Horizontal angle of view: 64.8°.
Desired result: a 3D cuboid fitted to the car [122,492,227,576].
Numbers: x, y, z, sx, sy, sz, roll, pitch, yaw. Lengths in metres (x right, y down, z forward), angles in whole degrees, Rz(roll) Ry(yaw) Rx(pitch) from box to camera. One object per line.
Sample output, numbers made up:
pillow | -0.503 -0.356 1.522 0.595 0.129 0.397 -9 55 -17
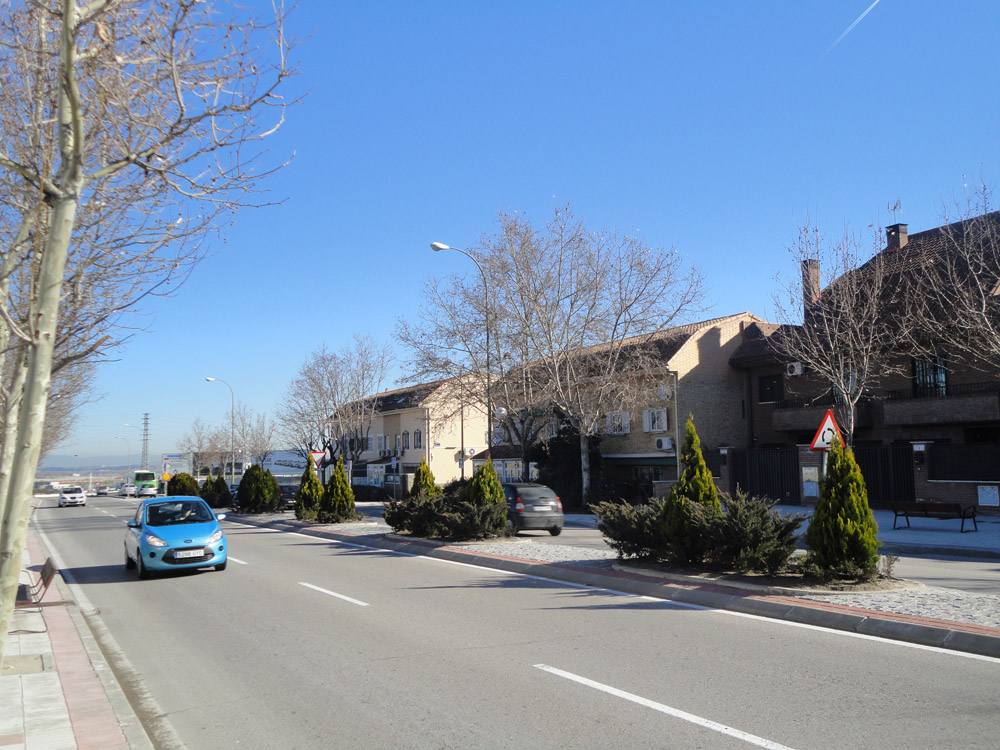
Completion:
car | -7.414 3.615 17.951 1.423 1.322 2.580 3 -17 -26

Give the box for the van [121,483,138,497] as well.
van | -41.858 13.116 89.596 1.943 1.830 3.289 4 -13 -29

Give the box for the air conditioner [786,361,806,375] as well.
air conditioner | 14.288 -0.326 38.252 0.792 0.625 1.789 -6 -13 21

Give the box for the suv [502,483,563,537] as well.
suv | 1.073 4.350 25.402 1.893 1.693 1.040 3 -10 -26

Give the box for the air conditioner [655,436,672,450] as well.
air conditioner | 9.013 3.799 43.335 0.462 0.915 0.915 2 -3 -24
